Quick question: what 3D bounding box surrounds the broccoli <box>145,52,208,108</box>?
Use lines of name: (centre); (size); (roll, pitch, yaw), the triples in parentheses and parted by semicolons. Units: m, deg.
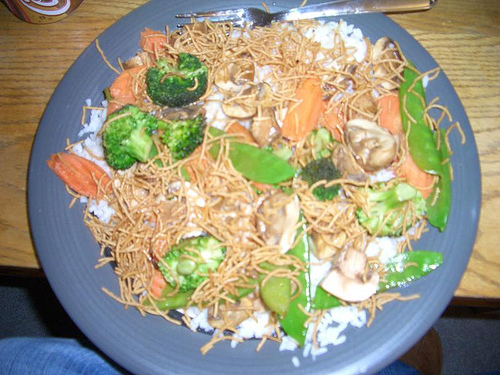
broccoli: (-0.301, -0.392, 1.688); (0.083, 0.239, 0.256); (-9, 80, 33)

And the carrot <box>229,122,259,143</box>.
carrot: (-0.023, -0.200, 1.674); (0.106, 0.022, 0.061); (27, 61, 6)

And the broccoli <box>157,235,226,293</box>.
broccoli: (-0.209, 0.268, 1.604); (0.206, 0.301, 0.052); (-6, 97, -13)

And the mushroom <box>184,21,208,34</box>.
mushroom: (-0.204, -0.629, 1.779); (0.062, 0.017, 0.055); (11, 69, 12)

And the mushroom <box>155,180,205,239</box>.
mushroom: (-0.231, 0.074, 1.646); (0.153, 0.067, 0.221); (-38, 88, -4)

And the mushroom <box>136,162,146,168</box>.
mushroom: (-0.410, -0.086, 1.689); (0.021, 0.015, 0.021); (2, 32, 6)

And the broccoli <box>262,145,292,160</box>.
broccoli: (0.100, -0.135, 1.646); (0.097, 0.044, 0.053); (19, 85, -1)

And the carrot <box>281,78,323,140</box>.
carrot: (0.197, -0.285, 1.733); (0.112, 0.075, 0.225); (23, 83, 6)

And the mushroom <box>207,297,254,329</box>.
mushroom: (-0.076, 0.475, 1.675); (0.147, 0.223, 0.046); (12, 56, -18)

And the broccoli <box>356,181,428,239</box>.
broccoli: (0.508, 0.070, 1.680); (0.222, 0.087, 0.188); (-17, 101, -2)

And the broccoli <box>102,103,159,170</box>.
broccoli: (-0.432, -0.181, 1.676); (0.204, 0.087, 0.221); (-6, 87, 3)

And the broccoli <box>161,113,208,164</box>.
broccoli: (-0.258, -0.200, 1.659); (0.178, 0.066, 0.266); (-13, 46, -14)

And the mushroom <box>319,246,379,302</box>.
mushroom: (0.389, 0.327, 1.694); (0.296, 0.210, 0.056); (-23, 88, -13)

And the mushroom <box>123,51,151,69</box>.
mushroom: (-0.438, -0.492, 1.751); (0.093, 0.024, 0.053); (-8, 91, -6)
